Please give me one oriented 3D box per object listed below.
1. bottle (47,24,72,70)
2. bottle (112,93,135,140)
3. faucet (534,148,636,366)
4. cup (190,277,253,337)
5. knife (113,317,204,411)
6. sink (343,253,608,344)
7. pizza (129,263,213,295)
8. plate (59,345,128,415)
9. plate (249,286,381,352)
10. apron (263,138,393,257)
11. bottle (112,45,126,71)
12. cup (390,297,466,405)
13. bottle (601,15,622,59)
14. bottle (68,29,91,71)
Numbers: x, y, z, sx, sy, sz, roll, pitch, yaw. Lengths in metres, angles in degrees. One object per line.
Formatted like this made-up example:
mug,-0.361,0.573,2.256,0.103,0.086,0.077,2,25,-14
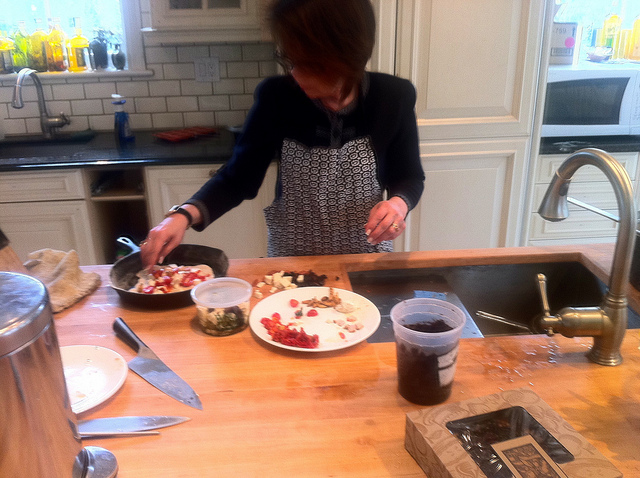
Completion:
bottle,-1.747,-1.287,3.141,0.123,0.276,0.060,-10,25,-23
bottle,-1.314,-0.822,3.113,0.111,0.268,0.351,-8,22,-21
faucet,0.655,0.038,1.141,0.225,0.495,0.210,5,23,12
cup,-0.274,0.193,1.309,0.185,0.104,0.174,0,12,0
knife,-0.401,0.301,1.127,0.100,0.042,0.415,-17,30,-35
sink,0.526,0.247,1.567,0.683,0.207,0.343,-1,27,-7
pizza,-0.457,0.120,1.435,0.121,0.015,0.120,-17,27,-32
plate,-0.535,0.325,1.082,0.170,0.031,0.161,-9,23,-16
plate,-0.019,0.220,1.275,0.215,0.021,0.196,3,26,9
apron,0.043,-0.171,1.916,0.520,0.448,0.266,-6,3,-14
bottle,-1.358,-1.223,3.154,0.077,0.155,0.088,-9,24,-23
cup,0.236,0.247,1.060,0.140,0.204,0.147,0,22,0
bottle,1.660,-1.149,2.667,0.094,0.231,0.039,11,25,24
bottle,-1.626,-1.274,3.162,0.115,0.262,0.099,-9,24,-22
